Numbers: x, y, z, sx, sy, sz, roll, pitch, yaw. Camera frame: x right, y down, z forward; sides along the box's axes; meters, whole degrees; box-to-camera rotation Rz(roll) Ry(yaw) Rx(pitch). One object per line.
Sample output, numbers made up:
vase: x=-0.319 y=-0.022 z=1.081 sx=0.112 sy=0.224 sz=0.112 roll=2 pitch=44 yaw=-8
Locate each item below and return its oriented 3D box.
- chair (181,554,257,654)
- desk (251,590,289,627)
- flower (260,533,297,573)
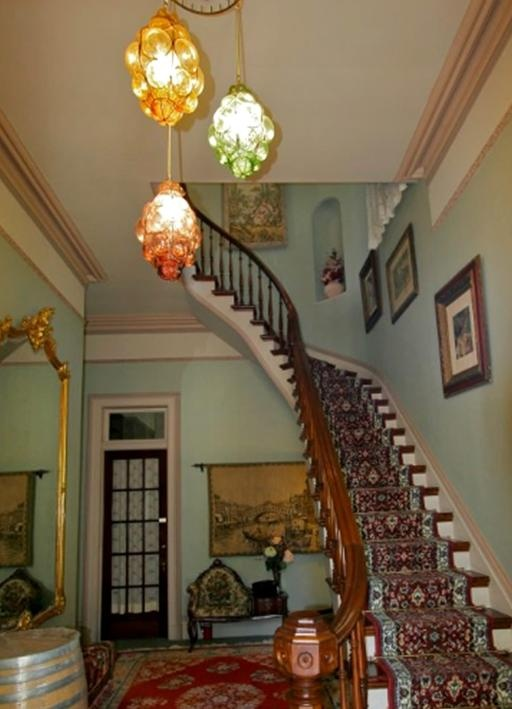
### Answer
chair: x=-0.418 y=2.913 z=6.467 sx=0.791 sy=1.101 sz=0.562 roll=-2 pitch=-4 yaw=8
desk: x=0.167 y=2.840 z=6.099 sx=0.294 sy=0.237 sz=0.310 roll=-1 pitch=-9 yaw=-3
flower: x=0.245 y=2.359 z=6.491 sx=0.414 sy=0.523 sz=0.463 roll=-1 pitch=-9 yaw=-2
